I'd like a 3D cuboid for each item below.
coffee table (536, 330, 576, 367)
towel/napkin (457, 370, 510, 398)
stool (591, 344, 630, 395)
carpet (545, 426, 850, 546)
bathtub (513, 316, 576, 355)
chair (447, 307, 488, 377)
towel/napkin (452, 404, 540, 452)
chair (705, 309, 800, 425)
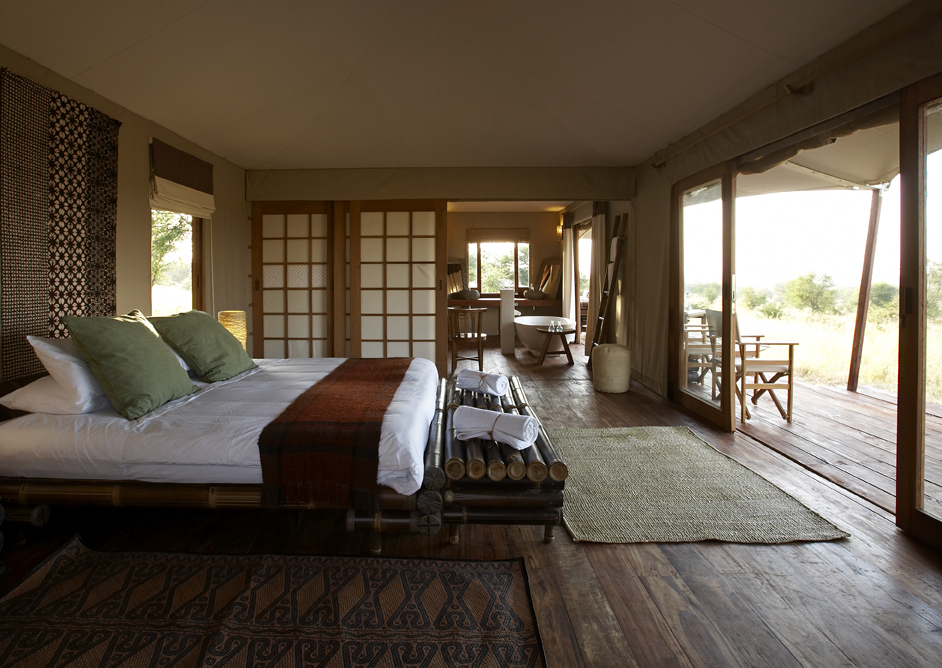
[{"bbox_3d":[1.160,0.198,8.543,0.471,0.469,0.483,0,-2,0],"label":"coffee table"},{"bbox_3d":[0.077,0.336,4.333,0.219,0.099,0.220,5,1,25],"label":"towel/napkin"},{"bbox_3d":[1.428,0.371,6.586,0.436,0.511,0.448,-1,1,-4],"label":"stool"},{"bbox_3d":[1.294,0.984,4.322,1.578,0.188,1.750,-1,7,-6],"label":"carpet"},{"bbox_3d":[1.057,-0.034,8.796,0.557,0.287,0.724,-1,9,-2],"label":"bathtub"},{"bbox_3d":[-0.102,0.041,7.851,0.519,0.716,0.535,8,2,33],"label":"chair"},{"bbox_3d":[0.118,0.519,3.617,0.359,0.153,0.242,5,-4,11],"label":"towel/napkin"},{"bbox_3d":[2.483,0.231,5.586,0.569,0.913,0.704,1,7,9],"label":"chair"}]
